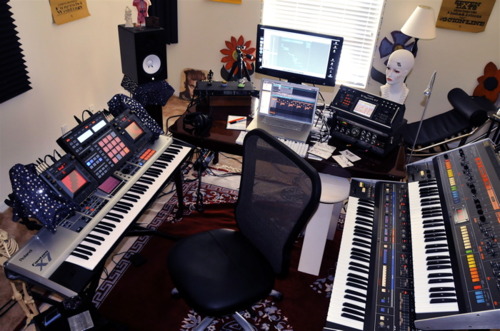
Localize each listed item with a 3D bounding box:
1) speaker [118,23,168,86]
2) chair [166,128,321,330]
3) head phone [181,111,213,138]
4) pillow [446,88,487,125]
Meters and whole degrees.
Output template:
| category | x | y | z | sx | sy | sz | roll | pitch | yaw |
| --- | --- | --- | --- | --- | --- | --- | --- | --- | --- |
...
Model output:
| category | x | y | z | sx | sy | sz | roll | pitch | yaw |
| --- | --- | --- | --- | --- | --- | --- | --- | --- | --- |
| speaker | -1.206 | -1.239 | 3.974 | 0.520 | 0.551 | 0.412 | -5 | 44 | -10 |
| chair | -0.035 | 0.614 | 3.191 | 1.023 | 1.559 | 0.946 | -21 | 55 | -28 |
| head phone | -0.543 | -0.443 | 3.645 | 0.287 | 0.206 | 0.225 | 11 | 23 | 33 |
| pillow | 2.859 | -0.836 | 4.692 | 0.292 | 0.198 | 0.611 | -19 | 40 | 9 |
